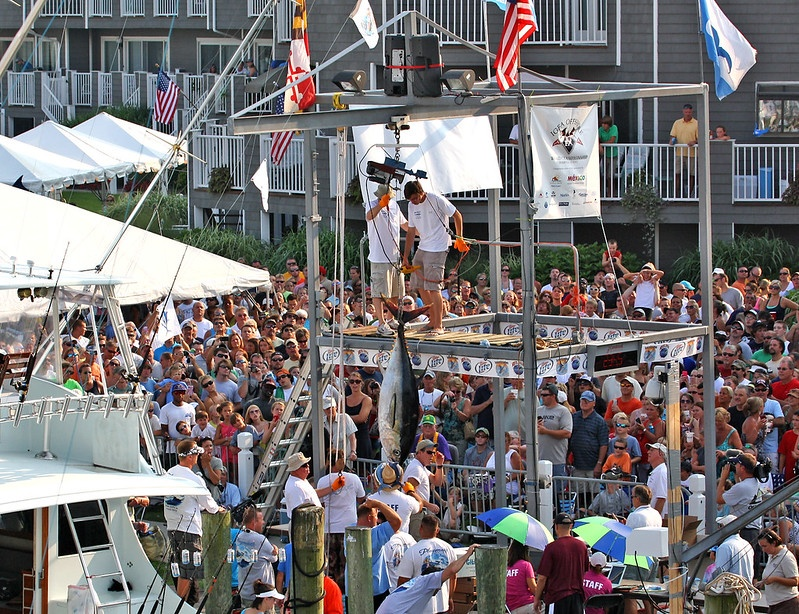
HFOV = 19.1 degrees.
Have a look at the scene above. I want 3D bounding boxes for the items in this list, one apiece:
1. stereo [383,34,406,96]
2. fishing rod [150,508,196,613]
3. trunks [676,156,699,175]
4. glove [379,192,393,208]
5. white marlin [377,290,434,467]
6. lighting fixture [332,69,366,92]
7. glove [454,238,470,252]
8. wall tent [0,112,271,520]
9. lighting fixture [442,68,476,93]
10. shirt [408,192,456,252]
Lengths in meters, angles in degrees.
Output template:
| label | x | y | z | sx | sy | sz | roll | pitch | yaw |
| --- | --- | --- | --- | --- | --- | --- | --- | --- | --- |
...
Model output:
| label | x | y | z | sx | sy | sz | roll | pitch | yaw |
| --- | --- | --- | --- | --- | --- | --- | --- | --- | --- |
| stereo | -0.123 | -3.949 | 39.471 | 0.400 | 0.779 | 0.298 | -1 | 1 | 16 |
| fishing rod | -3.749 | 4.208 | 39.237 | 0.219 | 1.645 | 0.224 | -34 | -26 | 24 |
| trunks | 6.350 | -3.125 | 53.093 | 0.535 | 0.530 | 0.203 | 8 | 13 | 41 |
| glove | -0.280 | -1.696 | 39.306 | 0.168 | 0.244 | 0.217 | 22 | -50 | -14 |
| white marlin | -0.034 | 1.247 | 37.573 | 0.706 | 1.951 | 0.556 | -1 | 1 | 0 |
| lighting fixture | -0.824 | -3.727 | 39.585 | 0.378 | 0.341 | 0.390 | 6 | 15 | 42 |
| glove | 1.007 | -1.020 | 39.799 | 0.119 | 0.185 | 0.237 | -19 | -4 | -14 |
| wall tent | -6.255 | -0.049 | 50.751 | 5.047 | 2.539 | 5.338 | 29 | 20 | 26 |
| lighting fixture | 0.919 | -3.670 | 39.100 | 0.517 | 0.303 | 0.434 | -1 | 1 | 3 |
| shirt | 0.484 | -1.432 | 40.645 | 0.988 | 1.233 | 0.635 | 0 | 0 | 24 |
